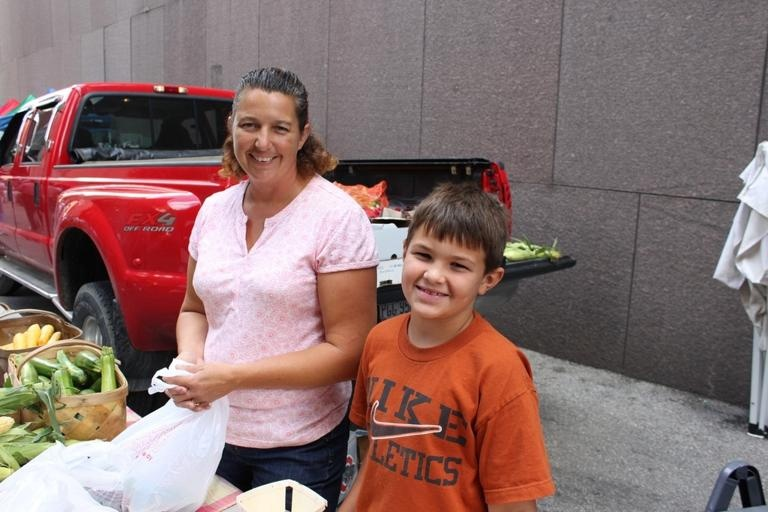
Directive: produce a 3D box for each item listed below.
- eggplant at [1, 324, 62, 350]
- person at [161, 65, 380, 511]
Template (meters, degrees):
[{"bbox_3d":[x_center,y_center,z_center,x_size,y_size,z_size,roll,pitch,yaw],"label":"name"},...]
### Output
[{"bbox_3d":[-2.063,0.482,3.482,0.255,0.074,0.255,-9,11,2],"label":"eggplant"},{"bbox_3d":[-0.515,0.189,3.005,0.879,2.122,1.004,-2,9,-13],"label":"person"}]
